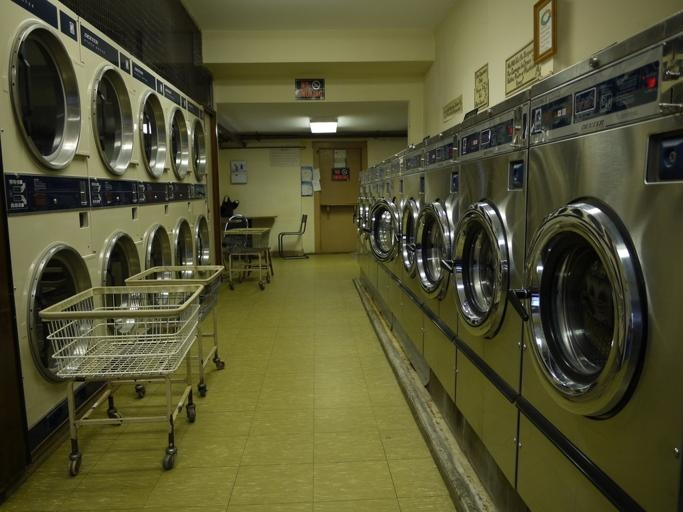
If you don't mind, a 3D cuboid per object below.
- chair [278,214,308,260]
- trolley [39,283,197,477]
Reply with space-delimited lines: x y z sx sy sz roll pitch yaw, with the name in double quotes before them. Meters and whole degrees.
"chair" -1.034 -0.439 10.713 0.667 0.980 0.602 2 3 10
"trolley" -1.239 0.694 2.979 0.605 0.861 1.055 -3 0 -11
